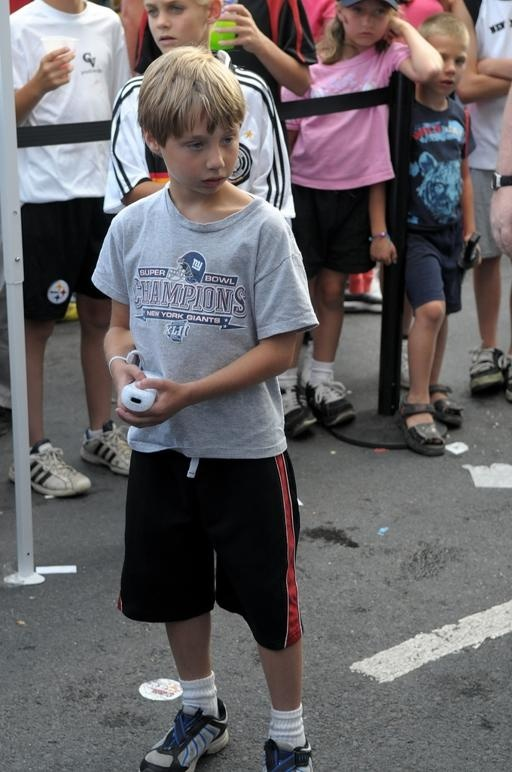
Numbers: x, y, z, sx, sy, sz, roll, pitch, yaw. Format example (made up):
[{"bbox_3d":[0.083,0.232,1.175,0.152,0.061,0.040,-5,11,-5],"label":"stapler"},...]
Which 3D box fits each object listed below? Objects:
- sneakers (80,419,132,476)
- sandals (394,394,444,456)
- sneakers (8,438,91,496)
[{"bbox_3d":[-0.643,0.277,3.183,0.317,0.190,0.139,17,21,20],"label":"sneakers"},{"bbox_3d":[0.821,0.165,3.429,0.164,0.162,0.451,-1,26,2],"label":"sandals"},{"bbox_3d":[-0.878,0.346,2.979,0.374,0.180,0.155,17,19,20],"label":"sneakers"}]
